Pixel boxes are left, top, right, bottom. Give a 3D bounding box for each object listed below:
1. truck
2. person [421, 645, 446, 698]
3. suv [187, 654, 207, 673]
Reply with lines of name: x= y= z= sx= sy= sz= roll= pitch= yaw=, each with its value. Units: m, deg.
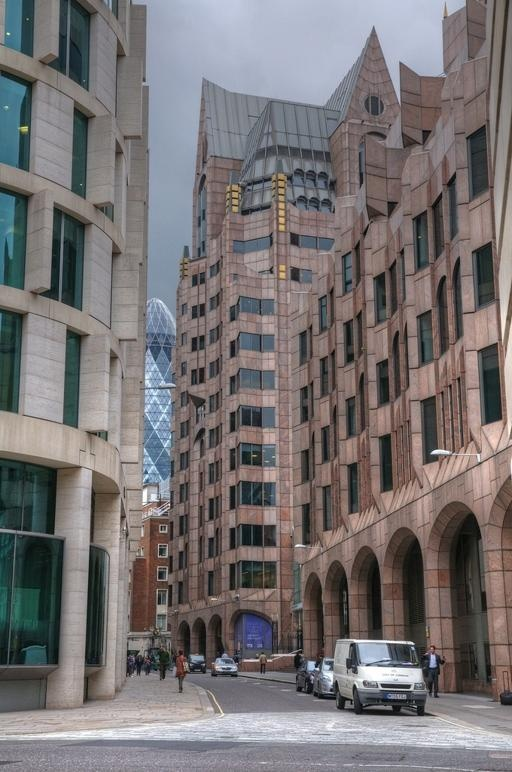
truck: x=2.771 y=6.972 z=19.097 sx=1.150 sy=1.673 sz=2.951 roll=3 pitch=-29 yaw=-5
person: x=5.490 y=8.877 z=24.815 sx=0.462 sy=1.692 sz=0.485 roll=-2 pitch=8 yaw=11
suv: x=-4.678 y=22.089 z=63.289 sx=1.274 sy=1.520 sz=4.176 roll=0 pitch=-22 yaw=-7
